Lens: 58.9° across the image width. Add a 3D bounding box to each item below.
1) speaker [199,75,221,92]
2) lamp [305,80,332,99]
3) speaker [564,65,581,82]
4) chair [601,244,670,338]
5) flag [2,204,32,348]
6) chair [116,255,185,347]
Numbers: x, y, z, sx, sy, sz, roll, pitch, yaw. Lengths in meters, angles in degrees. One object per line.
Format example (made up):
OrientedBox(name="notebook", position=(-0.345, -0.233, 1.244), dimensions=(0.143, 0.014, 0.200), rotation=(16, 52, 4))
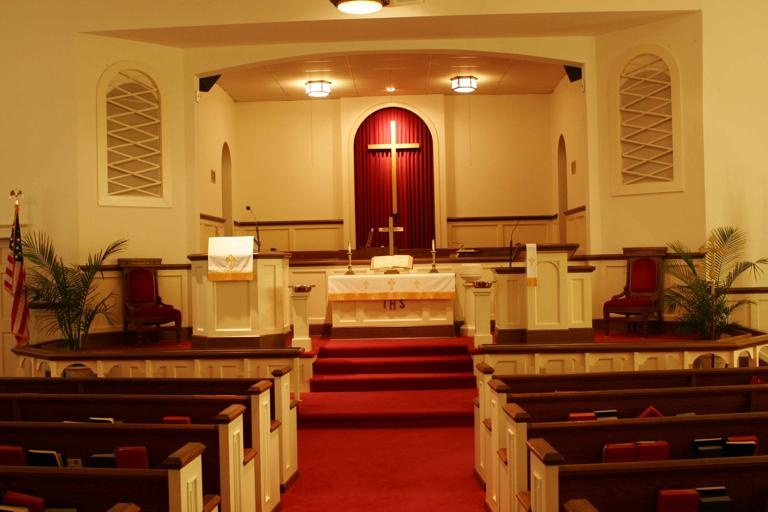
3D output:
OrientedBox(name="speaker", position=(-2.958, -2.884, 11.450), dimensions=(0.339, 0.292, 0.263), rotation=(-3, 3, -17))
OrientedBox(name="lamp", position=(-1.258, -3.215, 13.130), dimensions=(0.511, 0.237, 0.476), rotation=(-2, 3, -6))
OrientedBox(name="speaker", position=(3.177, -3.041, 11.367), dimensions=(0.285, 0.266, 0.077), rotation=(3, 8, 34))
OrientedBox(name="chair", position=(3.788, 0.532, 10.254), dimensions=(0.883, 1.269, 0.618), rotation=(-1, 3, 22))
OrientedBox(name="flag", position=(-5.294, 0.256, 9.806), dimensions=(0.269, 1.994, 0.665), rotation=(-4, 3, -28))
OrientedBox(name="chair", position=(-3.606, 0.696, 10.493), dimensions=(0.842, 1.314, 0.697), rotation=(-3, 3, -22))
